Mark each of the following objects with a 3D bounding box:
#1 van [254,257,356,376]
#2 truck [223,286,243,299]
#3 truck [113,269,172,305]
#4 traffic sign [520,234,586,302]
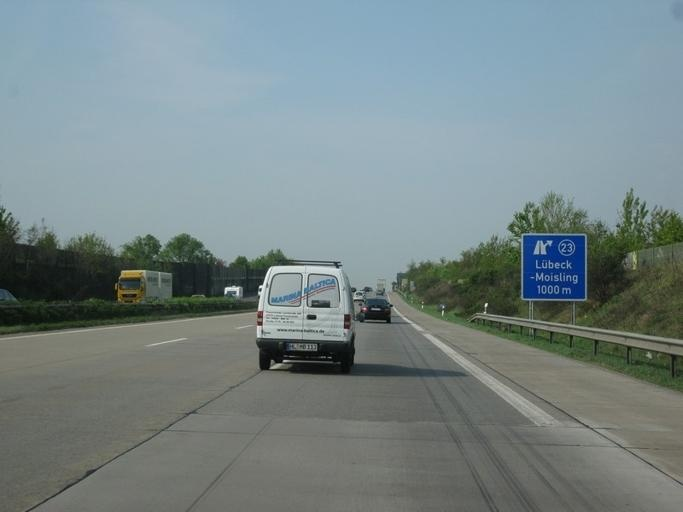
[{"bbox_3d":[-0.727,1.306,17.878,1.570,1.930,3.022,-1,0,6],"label":"van"},{"bbox_3d":[-11.423,3.775,79.888,1.678,1.893,2.854,0,-6,2],"label":"truck"},{"bbox_3d":[-13.980,2.316,54.819,2.070,3.436,8.113,-1,-7,6],"label":"truck"},{"bbox_3d":[7.812,0.426,27.726,2.032,2.436,0.084,-1,-6,7],"label":"traffic sign"}]
